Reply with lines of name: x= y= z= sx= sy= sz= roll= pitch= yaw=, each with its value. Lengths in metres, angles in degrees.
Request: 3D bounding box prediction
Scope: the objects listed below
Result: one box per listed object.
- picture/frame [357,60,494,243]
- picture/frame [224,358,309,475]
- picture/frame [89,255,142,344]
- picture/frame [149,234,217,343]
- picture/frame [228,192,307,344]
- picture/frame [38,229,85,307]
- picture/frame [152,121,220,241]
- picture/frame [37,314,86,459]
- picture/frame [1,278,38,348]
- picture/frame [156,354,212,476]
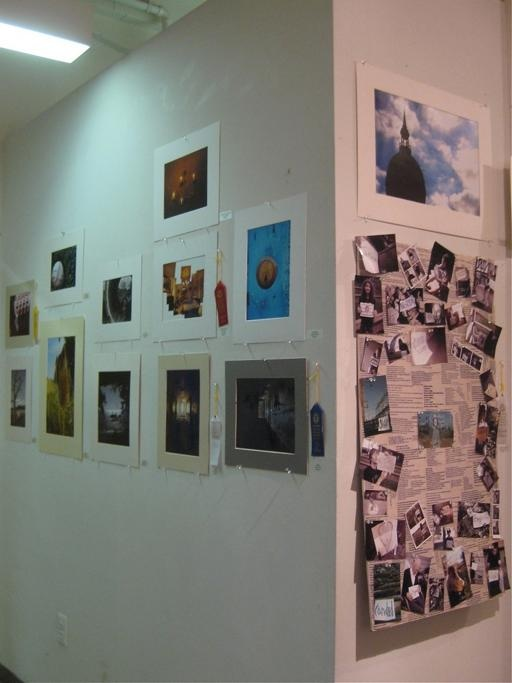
picture/frame: x=0.545 y=-0.580 z=1.787 sx=0.652 sy=0.484 sz=0.025 roll=2 pitch=-5 yaw=-36
picture/frame: x=0.039 y=0.226 z=1.702 sx=0.010 sy=0.366 sz=0.253 roll=5 pitch=-7 yaw=-39
picture/frame: x=-0.607 y=-0.180 z=2.492 sx=0.010 sy=0.380 sz=0.380 roll=3 pitch=-7 yaw=-42
picture/frame: x=-0.264 y=-0.194 z=2.100 sx=0.011 sy=0.420 sz=0.292 roll=2 pitch=-3 yaw=-36
picture/frame: x=0.040 y=-0.221 z=1.730 sx=0.016 sy=0.600 sz=0.324 roll=4 pitch=-6 yaw=-36
picture/frame: x=-0.998 y=-0.366 z=2.890 sx=0.439 sy=0.377 sz=0.024 roll=-7 pitch=-7 yaw=42
picture/frame: x=-0.273 y=-0.587 z=2.127 sx=0.016 sy=0.411 sz=0.454 roll=3 pitch=-7 yaw=-39
picture/frame: x=-0.966 y=0.241 z=2.831 sx=0.013 sy=1.041 sz=0.509 roll=1 pitch=-2 yaw=-36
picture/frame: x=-1.276 y=-0.166 z=3.059 sx=0.222 sy=0.438 sz=0.016 roll=6 pitch=8 yaw=36
picture/frame: x=-0.272 y=0.252 z=2.075 sx=0.189 sy=0.406 sz=0.010 roll=0 pitch=-4 yaw=10
